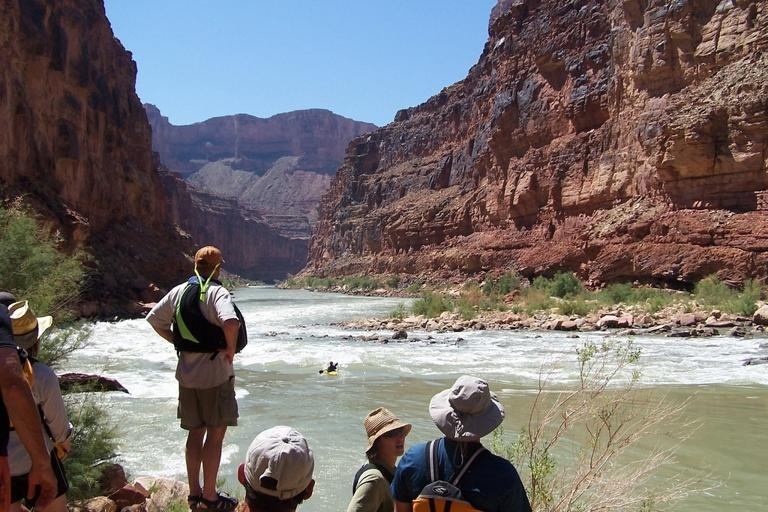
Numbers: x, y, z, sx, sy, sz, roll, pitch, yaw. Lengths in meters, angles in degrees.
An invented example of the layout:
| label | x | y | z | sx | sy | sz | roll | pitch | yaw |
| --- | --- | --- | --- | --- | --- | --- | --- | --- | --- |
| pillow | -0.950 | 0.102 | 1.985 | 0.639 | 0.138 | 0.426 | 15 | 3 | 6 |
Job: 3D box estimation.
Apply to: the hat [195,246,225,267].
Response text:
| label | x | y | z | sx | sy | sz | roll | pitch | yaw |
| --- | --- | --- | --- | --- | --- | --- | --- | --- | --- |
| hat | -1.956 | -0.003 | 6.166 | 0.232 | 0.179 | 0.302 | 1 | 14 | 3 |

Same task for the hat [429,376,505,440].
| label | x | y | z | sx | sy | sz | roll | pitch | yaw |
| --- | --- | --- | --- | --- | --- | --- | --- | --- | --- |
| hat | 0.710 | 1.341 | 4.730 | 0.544 | 0.235 | 0.596 | 5 | 42 | 7 |
